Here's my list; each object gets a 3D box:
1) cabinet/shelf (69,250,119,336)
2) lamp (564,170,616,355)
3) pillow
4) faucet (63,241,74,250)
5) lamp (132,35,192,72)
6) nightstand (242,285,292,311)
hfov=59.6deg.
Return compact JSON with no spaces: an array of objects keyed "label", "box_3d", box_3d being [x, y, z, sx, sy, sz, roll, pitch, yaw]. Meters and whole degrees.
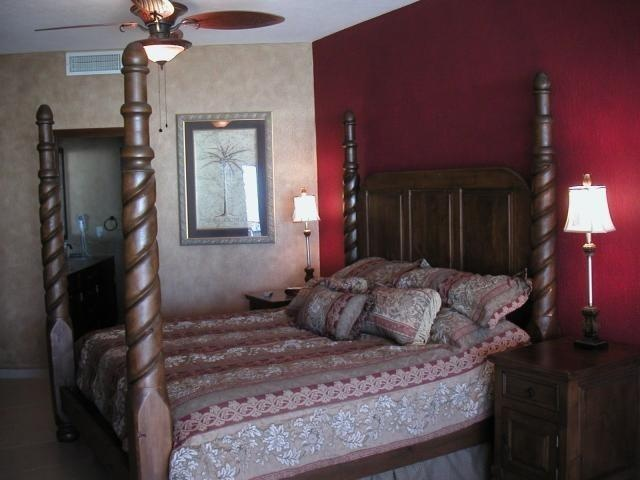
[{"label":"cabinet/shelf","box_3d":[-2.444,0.582,6.007,0.470,0.756,0.830,-2,10,-5]},{"label":"lamp","box_3d":[1.636,0.122,3.392,0.260,1.026,0.410,1,8,27]},{"label":"pillow","box_3d":[0.641,0.411,3.922,1.567,0.448,0.791,0,8,22]},{"label":"faucet","box_3d":[-2.851,0.075,6.334,0.078,0.124,0.127,-7,17,-23]},{"label":"lamp","box_3d":[-1.082,-1.352,3.959,0.328,0.182,0.369,-4,7,-11]},{"label":"nightstand","box_3d":[-0.433,0.553,5.266,0.280,0.277,0.305,-6,10,-31]}]
